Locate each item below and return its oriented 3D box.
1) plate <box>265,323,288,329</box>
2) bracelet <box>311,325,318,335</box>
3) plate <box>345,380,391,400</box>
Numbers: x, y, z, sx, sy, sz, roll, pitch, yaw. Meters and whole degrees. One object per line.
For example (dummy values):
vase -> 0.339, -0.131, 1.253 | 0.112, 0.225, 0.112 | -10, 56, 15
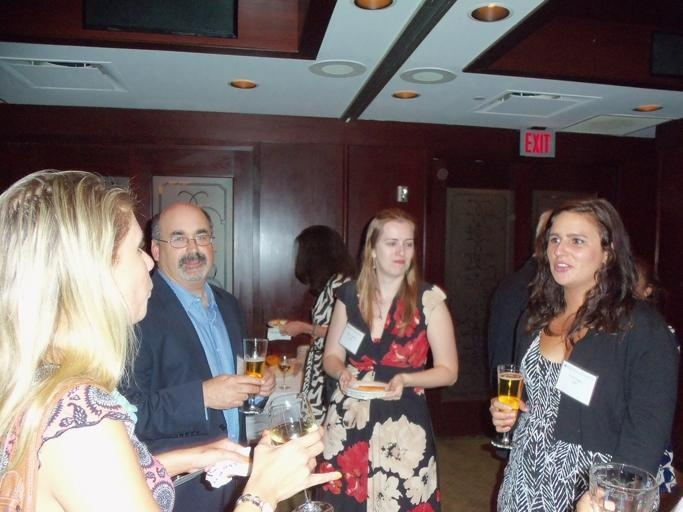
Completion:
plate -> -0.498, 0.541, 4.035 | 0.094, 0.023, 0.096 | 1, 0, 39
bracelet -> -0.183, 0.507, 3.517 | 0.028, 0.076, 0.055 | 10, -4, -15
plate -> 0.126, 0.684, 2.605 | 0.206, 0.077, 0.194 | -1, 2, -3
